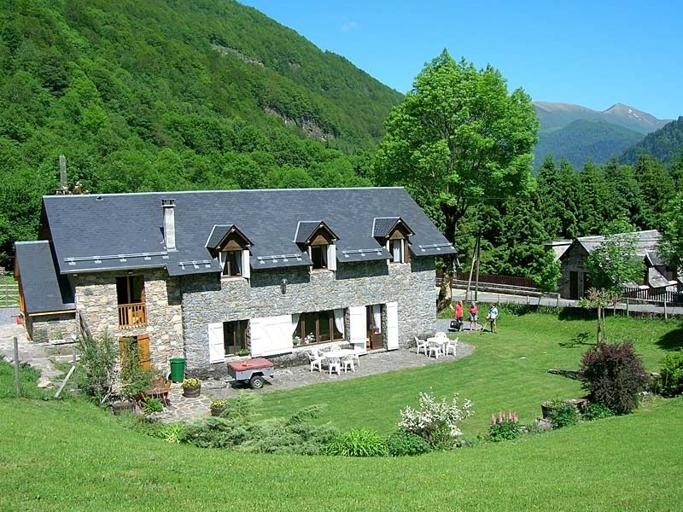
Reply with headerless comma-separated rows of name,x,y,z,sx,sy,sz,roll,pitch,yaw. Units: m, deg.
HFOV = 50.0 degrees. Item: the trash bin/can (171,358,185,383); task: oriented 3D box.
trash bin/can,-9.874,6.673,44.092,1.121,1.709,1.456,-1,8,-14
